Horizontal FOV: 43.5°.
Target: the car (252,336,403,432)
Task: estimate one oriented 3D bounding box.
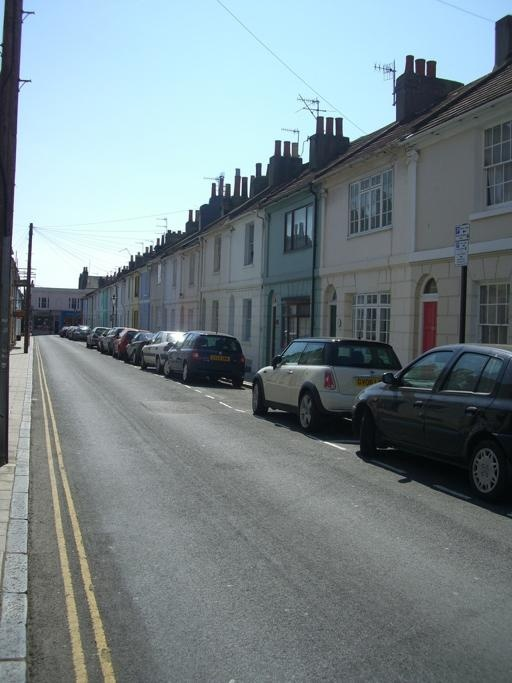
[{"bbox_3d":[1.117,0.658,11.630,1.296,1.276,2.472,1,0,-23],"label":"car"}]

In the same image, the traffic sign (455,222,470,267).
[{"bbox_3d":[3.090,-1.444,9.668,0.187,0.631,0.645,1,0,16],"label":"traffic sign"}]
